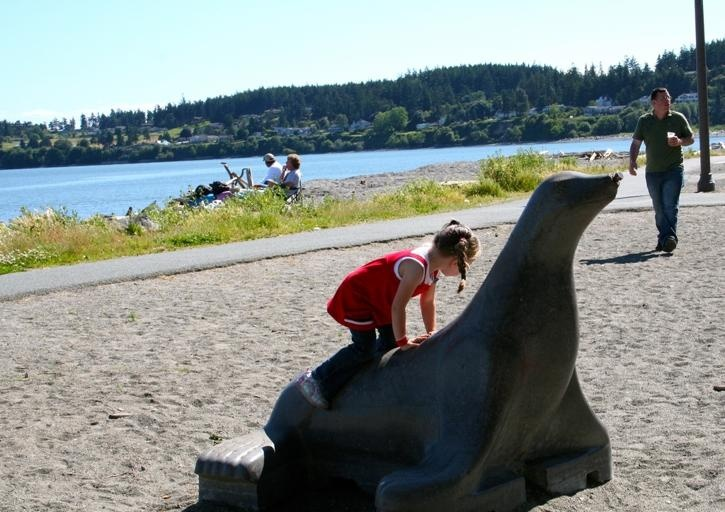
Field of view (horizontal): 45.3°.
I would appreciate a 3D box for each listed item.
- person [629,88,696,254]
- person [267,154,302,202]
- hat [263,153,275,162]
[{"bbox_3d":[4.328,-1.251,12.673,0.838,2.348,0.863,0,13,14],"label":"person"},{"bbox_3d":[-1.893,-1.695,20.801,0.777,1.507,0.594,7,10,0],"label":"person"},{"bbox_3d":[-2.313,-2.358,20.972,0.348,0.218,0.280,5,9,22],"label":"hat"}]
